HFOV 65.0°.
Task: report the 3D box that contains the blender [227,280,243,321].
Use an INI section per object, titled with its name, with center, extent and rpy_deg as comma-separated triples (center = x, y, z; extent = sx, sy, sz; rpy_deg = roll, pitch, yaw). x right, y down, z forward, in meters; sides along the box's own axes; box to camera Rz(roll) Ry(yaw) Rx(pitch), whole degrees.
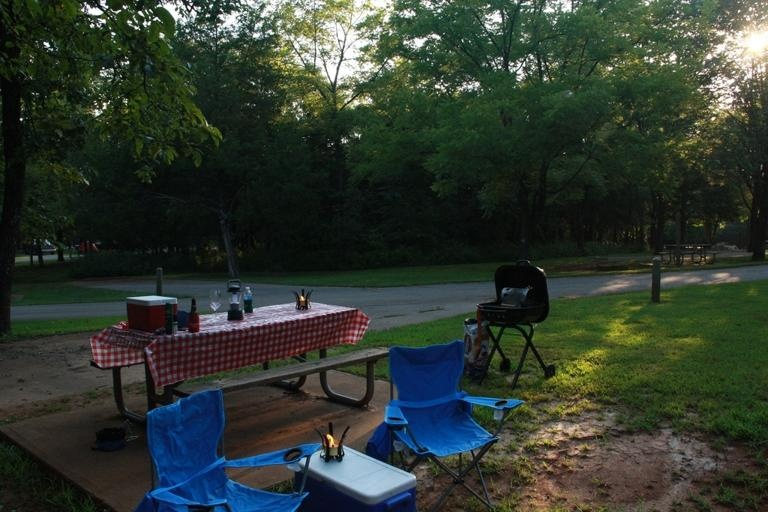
[blender]
center = -2.482, 0.726, 10.054
extent = 0.276, 0.663, 0.273
rpy_deg = -1, 1, -1

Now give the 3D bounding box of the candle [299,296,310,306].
[candle]
center = -1.397, 0.798, 10.796
extent = 0.163, 0.181, 0.162
rpy_deg = 2, 1, 17
